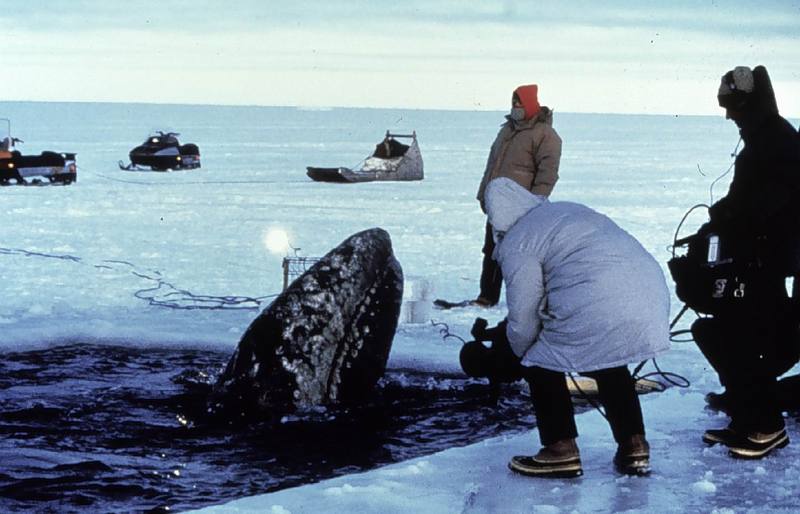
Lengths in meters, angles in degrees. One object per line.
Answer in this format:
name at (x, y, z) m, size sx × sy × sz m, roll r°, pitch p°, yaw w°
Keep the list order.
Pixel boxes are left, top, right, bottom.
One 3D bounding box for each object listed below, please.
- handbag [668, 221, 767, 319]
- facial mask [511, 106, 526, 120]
handbag at (4.213, 0.274, 20.490) m, size 1.252 × 0.970 × 0.337 m, roll -34°, pitch -18°, yaw 30°
facial mask at (1.795, -2.143, 23.170) m, size 0.201 × 0.124 × 0.194 m, roll 1°, pitch 6°, yaw 22°
